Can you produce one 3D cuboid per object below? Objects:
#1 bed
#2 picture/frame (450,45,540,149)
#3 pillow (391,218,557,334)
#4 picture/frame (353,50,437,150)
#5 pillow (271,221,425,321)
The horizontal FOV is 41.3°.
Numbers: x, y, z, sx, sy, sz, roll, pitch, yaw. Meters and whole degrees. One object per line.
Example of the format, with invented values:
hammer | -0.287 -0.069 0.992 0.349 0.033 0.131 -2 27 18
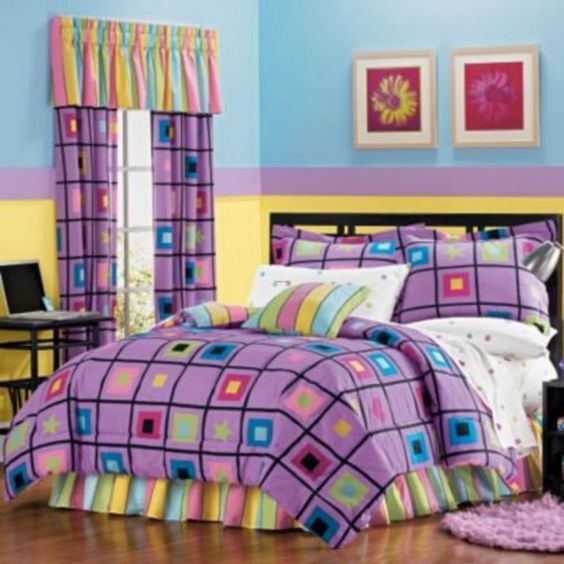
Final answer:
bed | 0.275 0.389 2.920 1.343 0.934 1.481 0 -2 36
picture/frame | 1.213 -1.055 4.190 0.544 0.693 0.037 1 2 30
pillow | 0.904 -0.014 3.505 0.547 0.447 0.173 -1 -39 19
picture/frame | 0.692 -1.098 4.433 0.545 0.637 0.087 1 2 30
pillow | 0.324 -0.047 3.607 0.481 0.375 0.098 4 -27 31
